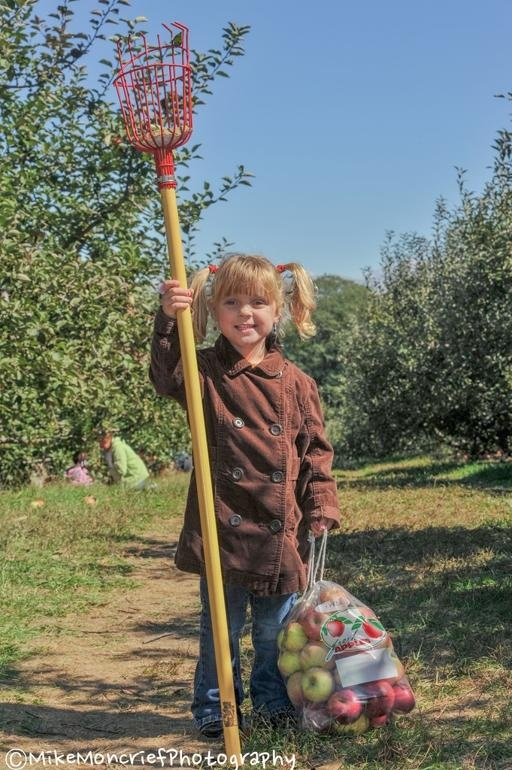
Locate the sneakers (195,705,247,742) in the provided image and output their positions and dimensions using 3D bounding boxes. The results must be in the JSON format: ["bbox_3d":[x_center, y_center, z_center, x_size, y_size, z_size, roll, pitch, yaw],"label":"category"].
[{"bbox_3d":[-0.140,1.310,3.265,0.196,0.086,0.225,1,-14,-5],"label":"sneakers"}]
